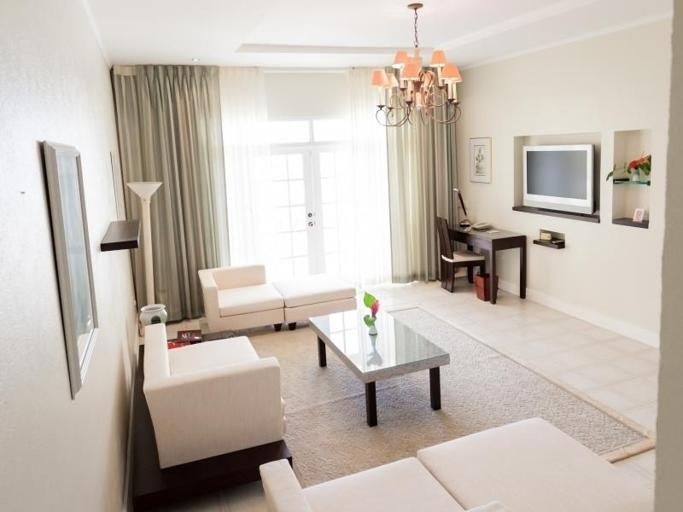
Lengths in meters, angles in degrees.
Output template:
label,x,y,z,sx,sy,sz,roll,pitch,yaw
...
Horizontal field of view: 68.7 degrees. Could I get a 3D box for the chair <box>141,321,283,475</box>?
label,x,y,z,sx,sy,sz,roll,pitch,yaw
chair,-0.862,0.664,3.279,0.710,0.610,1.100,-6,16,-20

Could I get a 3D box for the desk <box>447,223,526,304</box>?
label,x,y,z,sx,sy,sz,roll,pitch,yaw
desk,1.945,0.071,6.610,0.541,0.817,0.967,-8,14,-18

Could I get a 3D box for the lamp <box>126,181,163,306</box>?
label,x,y,z,sx,sy,sz,roll,pitch,yaw
lamp,-2.120,-0.099,5.622,0.325,1.502,0.948,-8,14,-21

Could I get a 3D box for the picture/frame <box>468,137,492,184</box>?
label,x,y,z,sx,sy,sz,roll,pitch,yaw
picture/frame,1.910,-1.330,6.848,0.031,0.864,0.594,-4,7,-26

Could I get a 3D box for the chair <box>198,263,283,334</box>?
label,x,y,z,sx,sy,sz,roll,pitch,yaw
chair,-1.149,0.467,5.719,0.798,0.679,0.833,-7,17,-21

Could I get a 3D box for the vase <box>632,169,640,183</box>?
label,x,y,z,sx,sy,sz,roll,pitch,yaw
vase,2.831,-0.765,4.806,0.071,0.107,0.080,7,17,38

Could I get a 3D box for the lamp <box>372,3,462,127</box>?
label,x,y,z,sx,sy,sz,roll,pitch,yaw
lamp,0.752,-2.029,5.210,0.963,1.304,1.131,1,11,15
